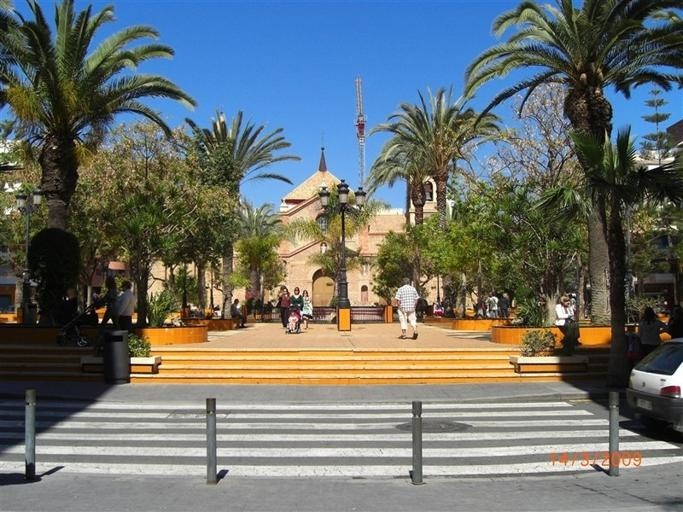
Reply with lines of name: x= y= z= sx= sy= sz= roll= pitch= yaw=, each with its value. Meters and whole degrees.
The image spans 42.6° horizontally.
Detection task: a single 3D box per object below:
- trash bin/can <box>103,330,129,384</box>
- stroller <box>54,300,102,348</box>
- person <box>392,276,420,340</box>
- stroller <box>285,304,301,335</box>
trash bin/can: x=-6.048 y=2.757 z=23.610 sx=0.681 sy=1.417 sz=0.469 roll=2 pitch=-6 yaw=-15
stroller: x=-7.963 y=2.085 z=26.488 sx=1.329 sy=1.708 sz=0.990 roll=-1 pitch=0 yaw=-3
person: x=2.192 y=1.796 z=29.343 sx=0.831 sy=2.557 sz=0.740 roll=3 pitch=-1 yaw=-6
stroller: x=-1.840 y=2.535 z=32.530 sx=0.492 sy=0.685 sz=1.112 roll=-1 pitch=-25 yaw=2
